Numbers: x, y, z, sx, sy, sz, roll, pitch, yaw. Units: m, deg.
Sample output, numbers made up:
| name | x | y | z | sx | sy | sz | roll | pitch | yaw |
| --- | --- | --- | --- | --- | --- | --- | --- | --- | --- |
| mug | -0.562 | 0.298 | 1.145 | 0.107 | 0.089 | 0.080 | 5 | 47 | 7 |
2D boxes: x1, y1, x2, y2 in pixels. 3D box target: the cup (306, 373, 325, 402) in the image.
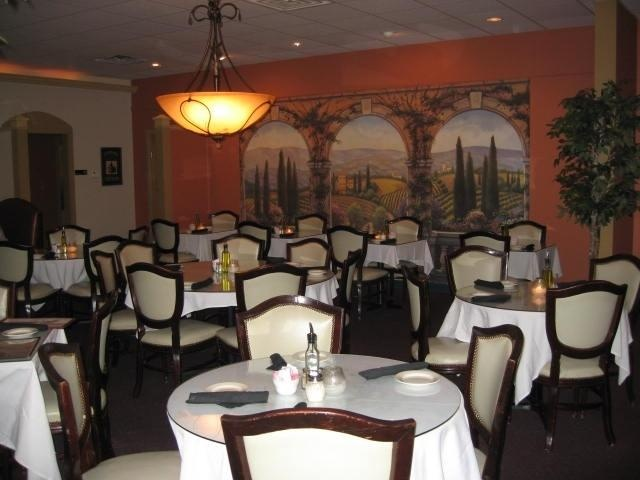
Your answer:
| name | x | y | z | sx | sy | sz | roll | pitch | yaw |
| --- | --- | --- | --- | --- | --- | --- | --- | --- | --- |
| cup | -0.004 | 0.700 | 2.475 | 0.117 | 0.140 | 0.064 | -5 | 6 | -34 |

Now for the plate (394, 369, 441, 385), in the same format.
| name | x | y | z | sx | sy | sz | roll | pitch | yaw |
| --- | --- | --- | --- | --- | --- | --- | --- | --- | --- |
| plate | 0.504 | 0.711 | 2.669 | 0.223 | 0.034 | 0.162 | -4 | 5 | -17 |

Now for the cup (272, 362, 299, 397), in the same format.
| name | x | y | z | sx | sy | sz | roll | pitch | yaw |
| --- | --- | --- | --- | --- | --- | --- | --- | --- | --- |
| cup | -0.159 | 0.692 | 2.582 | 0.109 | 0.131 | 0.133 | 2 | 7 | 14 |

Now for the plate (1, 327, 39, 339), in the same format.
| name | x | y | z | sx | sy | sz | roll | pitch | yaw |
| --- | --- | --- | --- | --- | --- | --- | --- | --- | --- |
| plate | -1.937 | 0.617 | 3.391 | 0.201 | 0.035 | 0.179 | -5 | 6 | -34 |

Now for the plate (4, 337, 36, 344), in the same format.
| name | x | y | z | sx | sy | sz | roll | pitch | yaw |
| --- | --- | --- | --- | --- | --- | --- | --- | --- | --- |
| plate | -1.900 | 0.642 | 3.291 | 0.207 | 0.014 | 0.103 | -3 | 5 | -11 |

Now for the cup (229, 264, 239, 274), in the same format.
| name | x | y | z | sx | sy | sz | roll | pitch | yaw |
| --- | --- | --- | --- | --- | --- | --- | --- | --- | --- |
| cup | -0.815 | 0.272 | 5.051 | 0.098 | 0.081 | 0.104 | 2 | 17 | -1 |

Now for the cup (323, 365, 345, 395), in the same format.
| name | x | y | z | sx | sy | sz | roll | pitch | yaw |
| --- | --- | --- | --- | --- | --- | --- | --- | --- | --- |
| cup | 0.072 | 0.698 | 2.585 | 0.100 | 0.106 | 0.107 | 1 | -3 | 0 |

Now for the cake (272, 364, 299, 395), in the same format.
| name | x | y | z | sx | sy | sz | roll | pitch | yaw |
| --- | --- | --- | --- | --- | --- | --- | --- | --- | --- |
| cake | -0.159 | 0.687 | 2.528 | 0.107 | 0.122 | 0.131 | 3 | 7 | 10 |
